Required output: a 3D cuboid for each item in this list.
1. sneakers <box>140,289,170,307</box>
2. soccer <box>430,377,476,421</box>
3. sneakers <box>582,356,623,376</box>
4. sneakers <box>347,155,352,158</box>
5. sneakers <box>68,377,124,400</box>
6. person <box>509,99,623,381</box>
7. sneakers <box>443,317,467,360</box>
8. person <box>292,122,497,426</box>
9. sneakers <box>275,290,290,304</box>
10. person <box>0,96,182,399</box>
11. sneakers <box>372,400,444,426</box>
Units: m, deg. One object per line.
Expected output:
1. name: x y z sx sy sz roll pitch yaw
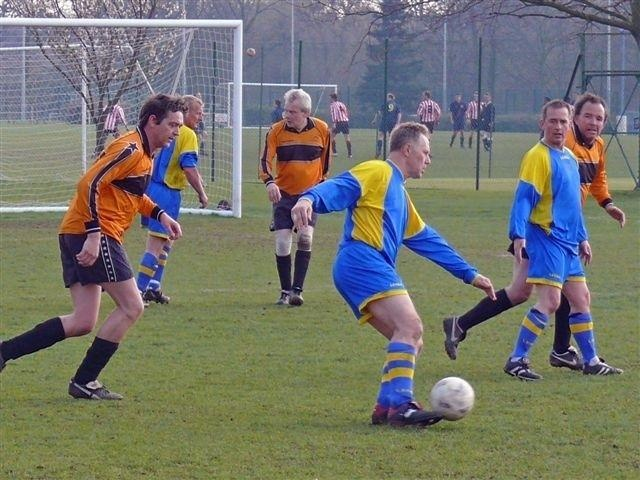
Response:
1. sneakers: -1.897 0.650 12.239 0.384 0.205 0.126 1 12 -20
2. soccer: 1.020 1.391 8.991 0.396 0.391 0.411 -9 -1 17
3. sneakers: 2.619 1.199 10.163 0.405 0.170 0.141 0 -3 1
4. sneakers: 0.814 -2.418 30.721 0.144 0.111 0.194 3 4 5
5. sneakers: -2.003 1.312 9.588 0.513 0.201 0.178 3 -3 -6
6. person: 2.169 -0.009 10.110 1.066 2.532 0.880 -5 16 -17
7. sneakers: 1.305 0.893 10.425 0.133 0.181 0.389 -32 39 9
8. person: 0.550 0.281 9.124 1.090 2.437 1.270 14 21 43
9. sneakers: -0.435 0.656 12.331 0.165 0.130 0.112 -1 15 -4
10. person: -1.932 0.063 9.473 1.595 2.588 0.714 -13 20 -40
11. sneakers: 0.731 1.451 9.051 0.574 0.223 0.217 -2 -1 9
